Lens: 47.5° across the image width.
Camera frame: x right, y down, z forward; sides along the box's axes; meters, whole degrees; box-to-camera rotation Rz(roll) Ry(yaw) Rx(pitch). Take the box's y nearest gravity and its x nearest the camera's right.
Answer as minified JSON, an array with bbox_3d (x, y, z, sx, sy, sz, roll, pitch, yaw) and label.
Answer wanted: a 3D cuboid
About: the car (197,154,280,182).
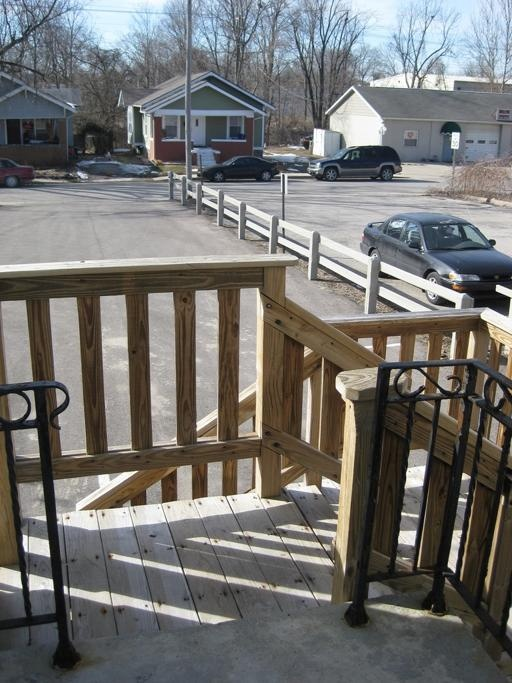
[{"bbox_3d":[-0.949,-9.847,33.732,4.631,1.480,1.856,-3,19,-14],"label":"car"}]
